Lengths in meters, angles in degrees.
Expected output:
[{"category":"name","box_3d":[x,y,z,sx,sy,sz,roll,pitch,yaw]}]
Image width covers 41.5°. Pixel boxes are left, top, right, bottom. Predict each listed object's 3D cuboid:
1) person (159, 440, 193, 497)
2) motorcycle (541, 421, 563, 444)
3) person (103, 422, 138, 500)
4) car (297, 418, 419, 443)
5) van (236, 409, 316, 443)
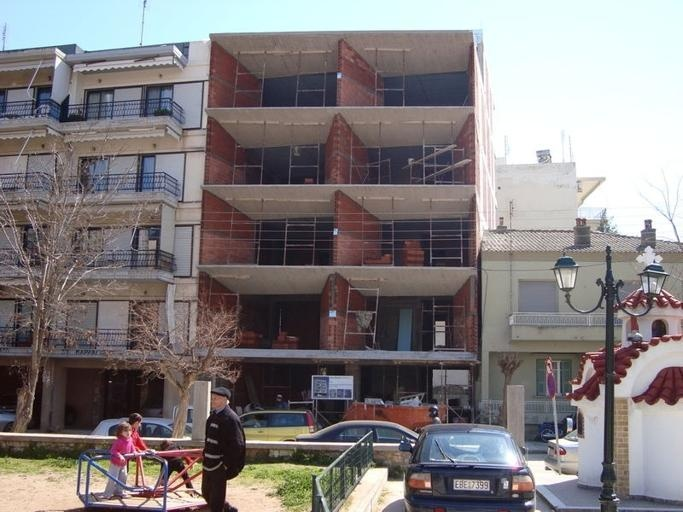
[{"category":"person","box_3d":[-4.770,6.080,26.174,0.949,1.330,2.562,2,-9,-11]},{"category":"motorcycle","box_3d":[9.442,8.066,40.885,1.600,0.953,0.755,-5,-7,11]},{"category":"person","box_3d":[-6.150,5.656,24.970,0.766,2.005,0.875,0,-9,-2]},{"category":"car","box_3d":[0.551,6.192,31.538,3.309,1.030,1.459,1,-11,5]},{"category":"van","box_3d":[-2.605,6.735,36.387,3.262,1.514,1.541,4,-13,3]}]
